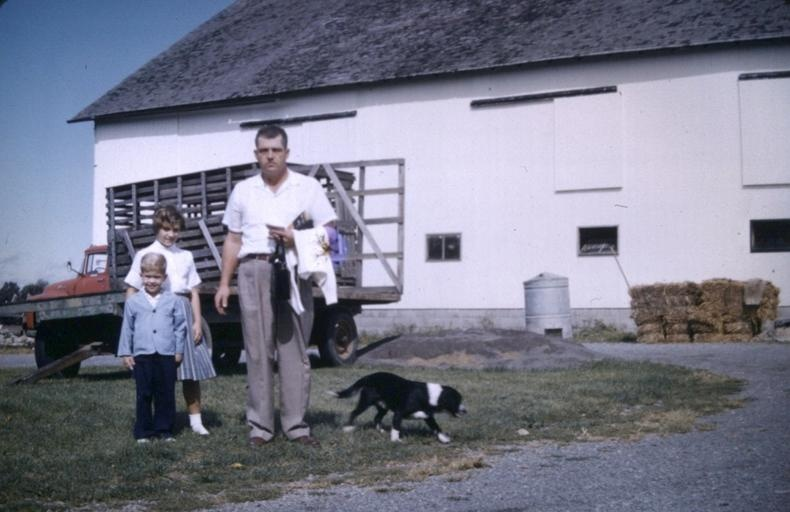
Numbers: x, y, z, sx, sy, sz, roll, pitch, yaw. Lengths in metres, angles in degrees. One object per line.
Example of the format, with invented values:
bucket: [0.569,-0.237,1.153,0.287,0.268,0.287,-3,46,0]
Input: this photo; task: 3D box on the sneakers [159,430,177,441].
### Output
sneakers: [-3.551,2.806,16.887,0.101,0.140,0.459,-4,-2,-6]

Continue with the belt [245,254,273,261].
belt: [-2.096,0.015,16.755,0.420,0.133,0.046,-3,-1,10]

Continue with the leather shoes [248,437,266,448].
leather shoes: [-2.105,2.850,16.714,0.292,0.095,0.172,-2,-1,-3]

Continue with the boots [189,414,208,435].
boots: [-3.106,2.643,17.143,0.285,0.223,0.470,-2,-1,-14]
